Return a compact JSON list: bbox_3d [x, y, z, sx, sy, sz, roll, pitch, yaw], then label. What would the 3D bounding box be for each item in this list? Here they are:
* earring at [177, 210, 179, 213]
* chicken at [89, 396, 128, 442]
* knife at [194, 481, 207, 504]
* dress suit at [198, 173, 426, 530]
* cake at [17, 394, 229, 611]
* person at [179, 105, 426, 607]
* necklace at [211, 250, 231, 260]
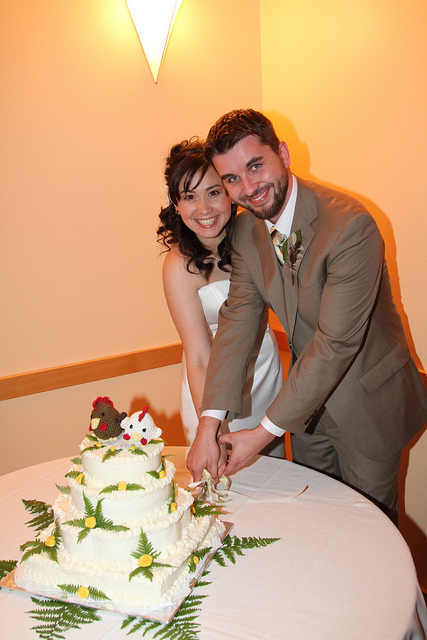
[{"bbox_3d":[-0.170,-0.519,2.247,0.008,0.011,0.010,-19,13,-16],"label":"earring"},{"bbox_3d":[-0.273,0.258,1.220,0.085,0.113,0.076,-6,16,-25],"label":"chicken"},{"bbox_3d":[-0.041,0.579,1.556,0.014,0.015,0.097,7,38,42],"label":"knife"},{"bbox_3d":[0.371,0.215,2.063,0.904,1.578,0.896,2,14,10],"label":"dress suit"},{"bbox_3d":[-0.257,0.459,1.277,0.449,0.475,0.478,-2,14,33],"label":"cake"},{"bbox_3d":[0.346,0.045,2.013,1.024,1.709,0.952,-3,4,-6],"label":"person"},{"bbox_3d":[0.034,-0.324,2.353,0.063,0.049,0.024,1,-24,11],"label":"necklace"}]
